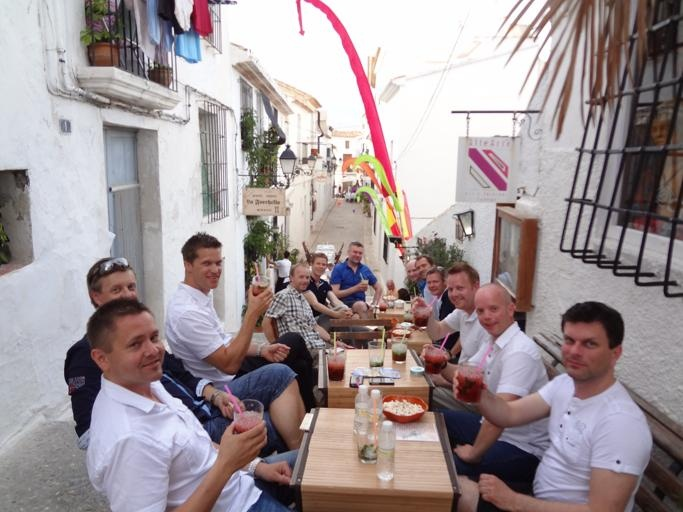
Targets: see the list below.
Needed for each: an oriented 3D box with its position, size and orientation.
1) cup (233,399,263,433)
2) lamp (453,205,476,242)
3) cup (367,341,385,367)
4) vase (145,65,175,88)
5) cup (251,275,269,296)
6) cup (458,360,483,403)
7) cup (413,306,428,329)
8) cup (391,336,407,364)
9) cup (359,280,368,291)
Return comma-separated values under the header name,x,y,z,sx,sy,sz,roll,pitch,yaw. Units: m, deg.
name,x,y,z,sx,sy,sz,roll,pitch,yaw
cup,-0.585,1.012,3.203,0.187,0.247,0.211,5,2,-4
lamp,2.578,-0.633,10.760,0.352,0.735,0.693,2,-8,5
cup,0.307,0.919,4.686,0.172,0.230,0.192,1,-2,2
vase,-2.315,-2.292,6.430,0.270,0.234,0.275,8,11,42
cup,-0.691,0.250,4.311,0.135,0.183,0.148,1,-3,0
cup,0.833,0.838,3.307,0.187,0.239,0.204,5,-5,0
cup,0.823,0.653,5.296,0.159,0.204,0.173,-3,10,0
cup,0.546,0.916,4.890,0.163,0.305,0.189,-1,4,8
cup,0.341,0.456,7.929,0.116,0.150,0.132,-2,-5,-4
